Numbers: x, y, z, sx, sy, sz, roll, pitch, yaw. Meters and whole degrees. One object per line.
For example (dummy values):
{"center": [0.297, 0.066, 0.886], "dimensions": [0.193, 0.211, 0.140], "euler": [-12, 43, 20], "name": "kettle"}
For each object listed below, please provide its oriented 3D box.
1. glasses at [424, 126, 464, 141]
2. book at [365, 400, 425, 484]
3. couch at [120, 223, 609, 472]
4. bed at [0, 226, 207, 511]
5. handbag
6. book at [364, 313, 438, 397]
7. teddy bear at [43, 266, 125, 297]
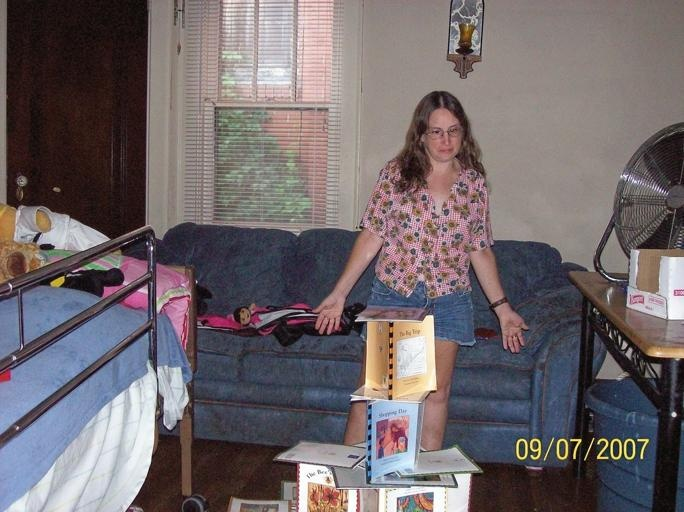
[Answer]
{"center": [0.394, -0.476, 2.293], "dimensions": [0.135, 0.056, 0.051], "euler": [2, 7, 4], "name": "glasses"}
{"center": [0.163, 0.595, 1.873], "dimensions": [0.237, 0.277, 0.029], "euler": [-2, 3, -32], "name": "book"}
{"center": [-0.034, 0.436, 3.280], "dimensions": [2.672, 1.121, 1.010], "euler": [2, 7, 7], "name": "couch"}
{"center": [-0.815, 0.387, 1.954], "dimensions": [0.308, 0.926, 0.890], "euler": [3, 8, 14], "name": "bed"}
{"center": [-0.132, 0.356, 3.028], "dimensions": [0.386, 0.154, 0.237], "euler": [0, 14, -10], "name": "handbag"}
{"center": [0.198, 0.297, 2.008], "dimensions": [0.279, 0.296, 0.236], "euler": [2, -1, -36], "name": "book"}
{"center": [-0.971, 0.090, 2.253], "dimensions": [0.276, 0.117, 0.096], "euler": [11, 4, -12], "name": "teddy bear"}
